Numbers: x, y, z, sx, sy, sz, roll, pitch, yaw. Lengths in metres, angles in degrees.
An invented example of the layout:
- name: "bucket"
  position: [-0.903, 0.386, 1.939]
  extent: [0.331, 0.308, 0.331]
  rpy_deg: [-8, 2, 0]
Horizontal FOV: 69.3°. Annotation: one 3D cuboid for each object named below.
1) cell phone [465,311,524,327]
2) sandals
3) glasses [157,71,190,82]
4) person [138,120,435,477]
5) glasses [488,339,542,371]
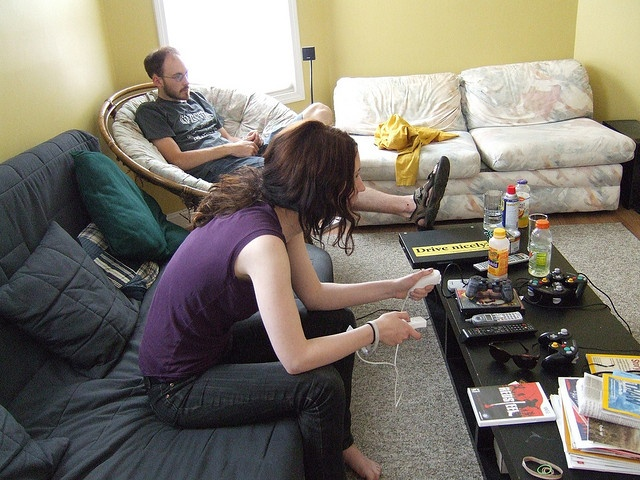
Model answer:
- name: "cell phone"
  position: [0.660, 0.292, 1.704]
  extent: [0.151, 0.028, 0.073]
  rpy_deg: [-6, 14, 9]
- name: "sandals"
  position: [0.602, -0.237, 2.633]
  extent: [0.186, 0.482, 0.155]
  rpy_deg: [10, 28, -4]
- name: "glasses"
  position: [-0.906, -1.006, 2.883]
  extent: [0.162, 0.066, 0.055]
  rpy_deg: [-22, 37, -21]
- name: "person"
  position: [-0.132, 0.275, 1.536]
  extent: [0.924, 1.168, 0.654]
  rpy_deg: [-1, 34, 7]
- name: "glasses"
  position: [0.662, 0.392, 1.556]
  extent: [0.167, 0.072, 0.087]
  rpy_deg: [-7, 34, -1]
